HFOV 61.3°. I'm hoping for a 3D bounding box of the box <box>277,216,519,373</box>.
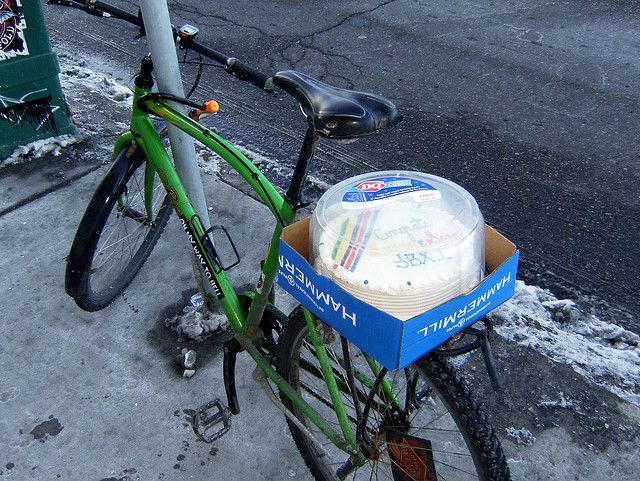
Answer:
[{"bbox_3d":[0.208,0.220,2.407,0.835,0.300,0.767,-32,49,-30],"label":"box"}]
